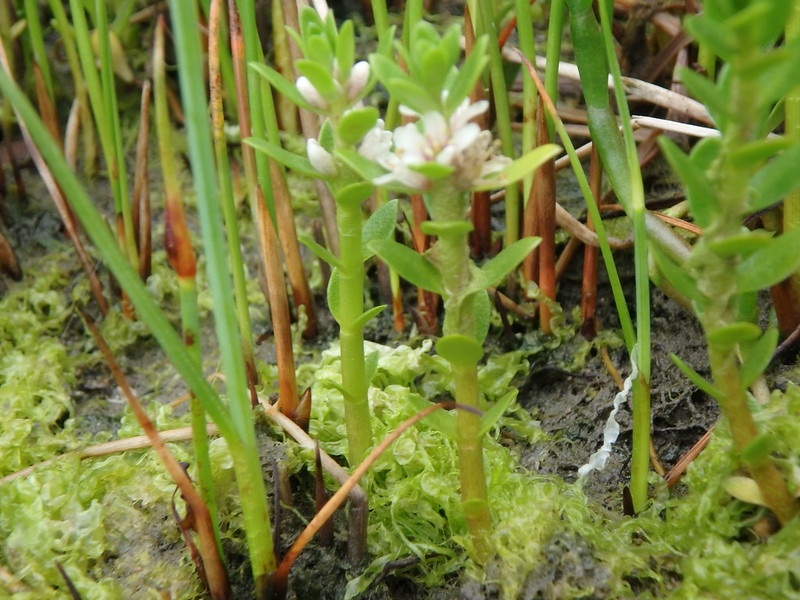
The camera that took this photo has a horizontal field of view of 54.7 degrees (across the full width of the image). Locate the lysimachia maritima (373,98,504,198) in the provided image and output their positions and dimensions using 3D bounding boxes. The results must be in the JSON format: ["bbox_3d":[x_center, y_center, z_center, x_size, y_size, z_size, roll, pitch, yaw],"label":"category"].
[{"bbox_3d":[0.033,-0.129,0.682,0.088,0.045,0.087,-20,10,-24],"label":"lysimachia maritima"}]
